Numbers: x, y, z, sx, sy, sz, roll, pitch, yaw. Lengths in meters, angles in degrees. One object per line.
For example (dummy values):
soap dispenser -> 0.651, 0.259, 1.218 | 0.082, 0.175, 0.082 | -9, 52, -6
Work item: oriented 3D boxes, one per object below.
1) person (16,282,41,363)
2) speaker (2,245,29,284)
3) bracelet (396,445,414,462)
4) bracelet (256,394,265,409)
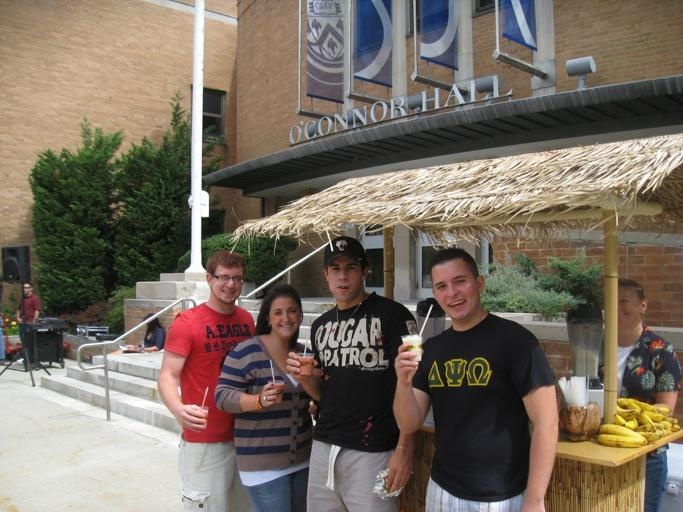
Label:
person -> -7.477, 1.571, 15.583 | 0.625, 1.841, 0.489 | 5, 5, 23
speaker -> -7.400, 0.190, 14.935 | 0.943, 0.941, 0.338 | -5, -4, 39
bracelet -> 0.480, 1.466, 4.896 | 0.123, 0.090, 0.097 | 3, -6, -10
bracelet -> -0.616, 1.113, 5.025 | 0.045, 0.090, 0.069 | -3, 1, -13
